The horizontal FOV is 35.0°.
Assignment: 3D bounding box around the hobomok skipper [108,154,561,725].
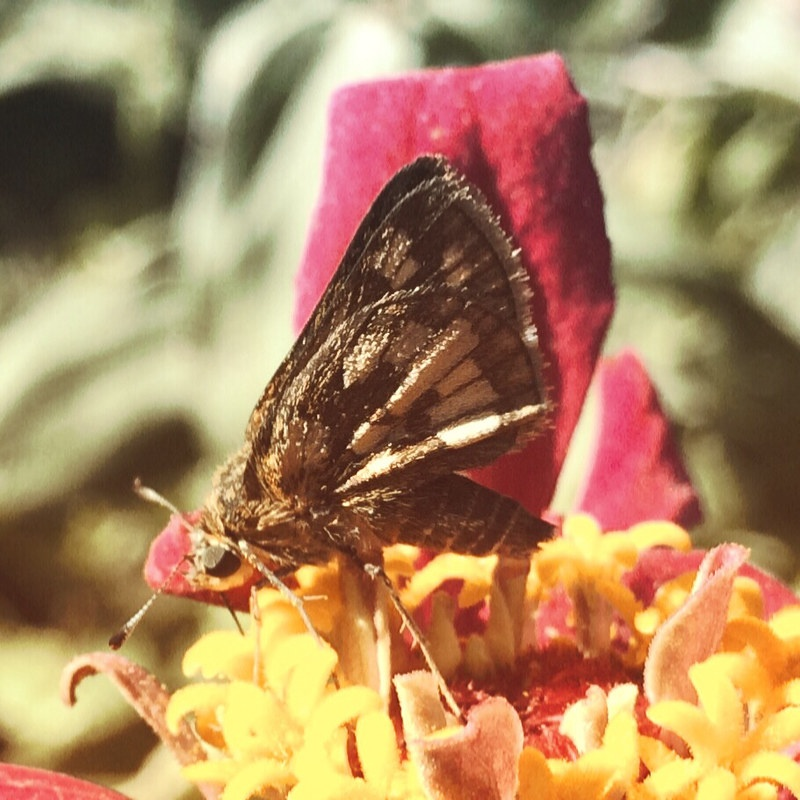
[{"bbox_3d":[-0.053,0.016,1.260,0.345,0.460,0.428,-2,6,-4],"label":"hobomok skipper"}]
